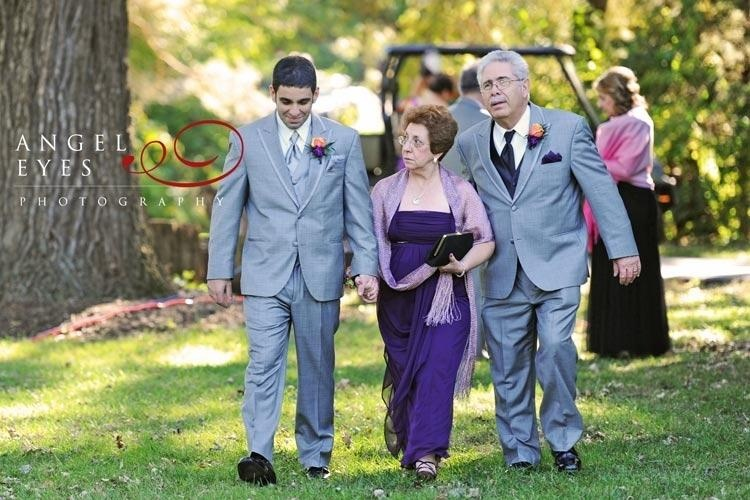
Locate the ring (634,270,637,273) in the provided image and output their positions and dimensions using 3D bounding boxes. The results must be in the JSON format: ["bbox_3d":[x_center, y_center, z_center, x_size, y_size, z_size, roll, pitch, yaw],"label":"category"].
[{"bbox_3d":[2.306,0.197,12.117,0.022,0.017,0.022,1,-6,0],"label":"ring"}]

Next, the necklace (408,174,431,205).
[{"bbox_3d":[0.384,-0.532,12.283,0.159,0.275,0.071,3,-10,4],"label":"necklace"}]

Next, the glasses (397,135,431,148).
[{"bbox_3d":[0.327,-0.964,12.271,0.329,0.120,0.126,-2,1,36],"label":"glasses"}]

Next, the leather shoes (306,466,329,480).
[{"bbox_3d":[-0.497,1.989,12.126,0.207,0.092,0.085,0,5,-17],"label":"leather shoes"}]

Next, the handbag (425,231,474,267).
[{"bbox_3d":[0.664,-0.012,12.000,0.319,0.079,0.322,-22,-34,-26],"label":"handbag"}]

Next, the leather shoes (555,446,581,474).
[{"bbox_3d":[1.709,1.878,12.118,0.130,0.123,0.288,0,-12,-9],"label":"leather shoes"}]

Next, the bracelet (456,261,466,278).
[{"bbox_3d":[0.767,0.183,12.172,0.045,0.126,0.098,1,21,-12],"label":"bracelet"}]

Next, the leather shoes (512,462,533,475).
[{"bbox_3d":[1.311,1.936,12.132,0.207,0.084,0.129,-2,1,7],"label":"leather shoes"}]
